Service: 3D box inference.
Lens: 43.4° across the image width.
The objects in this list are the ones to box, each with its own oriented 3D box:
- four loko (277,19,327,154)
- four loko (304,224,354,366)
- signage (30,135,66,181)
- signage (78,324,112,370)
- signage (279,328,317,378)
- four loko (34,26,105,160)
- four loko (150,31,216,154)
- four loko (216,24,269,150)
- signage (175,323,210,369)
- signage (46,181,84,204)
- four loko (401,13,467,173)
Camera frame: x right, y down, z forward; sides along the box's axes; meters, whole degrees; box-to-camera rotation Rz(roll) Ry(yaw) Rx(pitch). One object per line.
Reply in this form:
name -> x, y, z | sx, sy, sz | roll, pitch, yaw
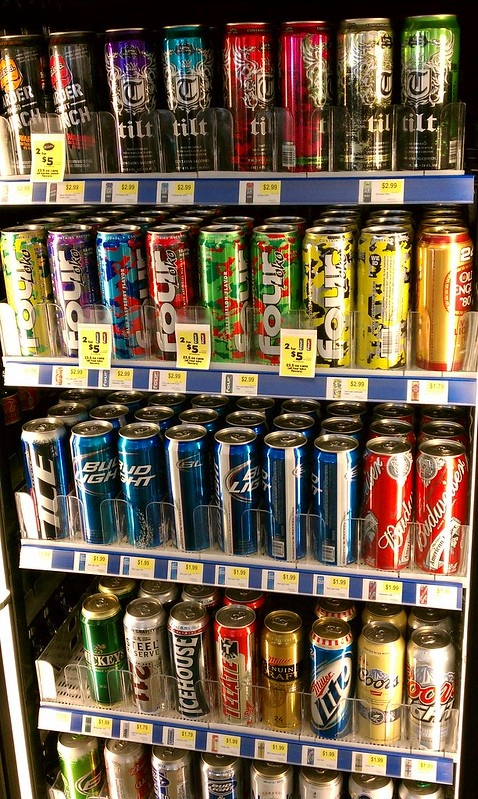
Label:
four loko -> 0.154, -0.710, 1.405 | 0.117, 0.328, 0.084 | -2, 17, 9
four loko -> 0.222, -0.241, 1.487 | 0.119, 0.333, 0.050 | -4, 16, 4
signage -> -0.491, -0.626, 1.547 | 0.116, 0.167, 0.017 | -1, -4, 9
signage -> -0.404, -0.156, 1.686 | 0.115, 0.164, 0.016 | 0, 10, 11
signage -> 0.147, -0.120, 1.497 | 0.101, 0.146, 0.016 | 5, 17, 16
four loko -> -0.421, -0.762, 1.600 | 0.089, 0.397, 0.105 | -8, -3, 10
four loko -> -0.124, -0.738, 1.471 | 0.131, 0.337, 0.136 | -5, 17, -1
four loko -> 0.023, -0.733, 1.443 | 0.122, 0.323, 0.084 | -4, 17, 4
signage -> -0.123, -0.146, 1.600 | 0.098, 0.126, 0.018 | 8, 21, 19
signage -> -0.463, -0.549, 1.588 | 0.097, 0.057, 0.131 | -13, 20, -22
four loko -> 0.414, -0.666, 1.305 | 0.129, 0.315, 0.113 | 0, 17, 18
